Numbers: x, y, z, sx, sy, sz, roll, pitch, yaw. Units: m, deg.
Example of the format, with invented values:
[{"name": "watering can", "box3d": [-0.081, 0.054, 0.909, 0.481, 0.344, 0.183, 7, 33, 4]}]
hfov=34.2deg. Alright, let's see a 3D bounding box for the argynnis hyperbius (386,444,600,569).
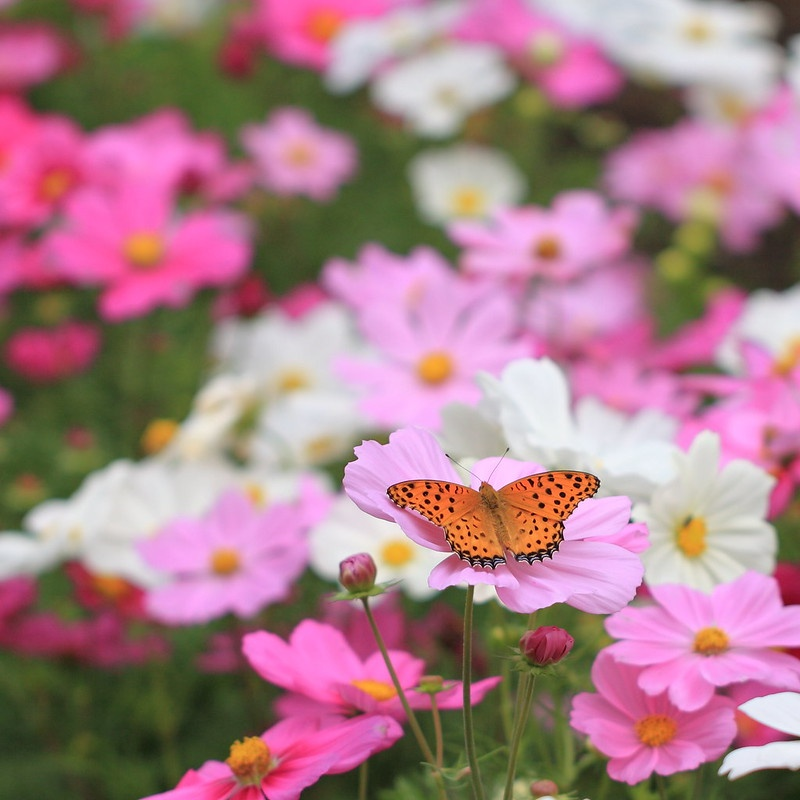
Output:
[{"name": "argynnis hyperbius", "box3d": [0.042, 0.060, 0.554, 0.077, 0.016, 0.043, -3, 57, -14]}]
